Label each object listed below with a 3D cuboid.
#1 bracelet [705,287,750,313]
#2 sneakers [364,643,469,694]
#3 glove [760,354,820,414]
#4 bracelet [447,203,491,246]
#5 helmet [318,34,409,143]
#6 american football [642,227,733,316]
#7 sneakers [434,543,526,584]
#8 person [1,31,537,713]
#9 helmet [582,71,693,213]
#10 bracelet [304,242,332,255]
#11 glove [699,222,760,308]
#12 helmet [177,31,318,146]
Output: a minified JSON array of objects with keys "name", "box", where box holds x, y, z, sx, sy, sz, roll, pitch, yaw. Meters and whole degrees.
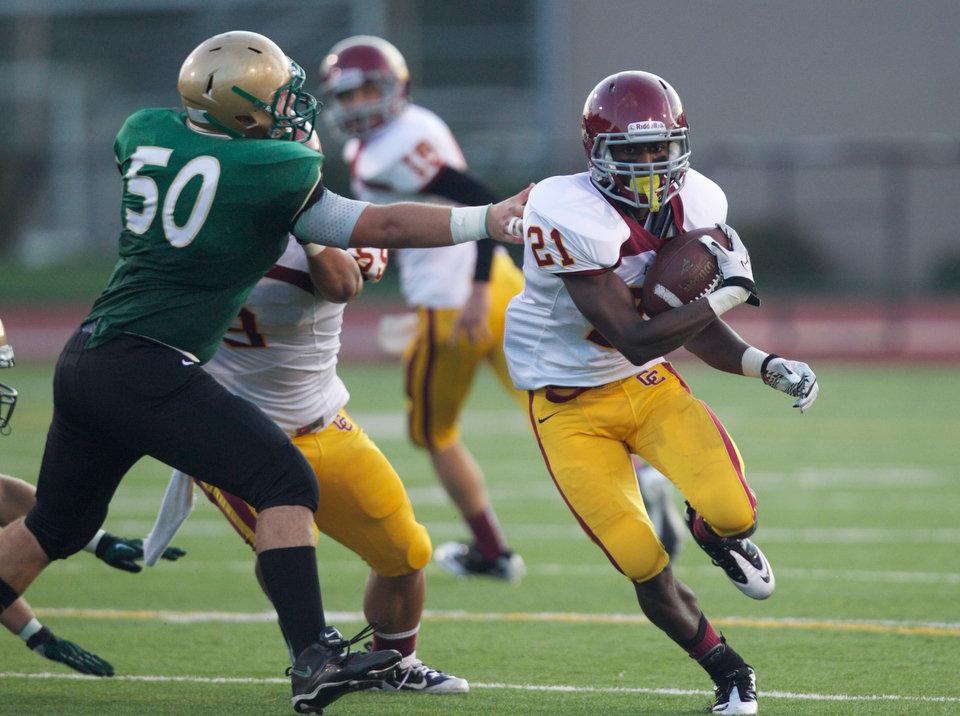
[{"name":"bracelet","box":[0.956,-0.227,5.997,0.164,0.082,0.061,-23,-14,-3]},{"name":"sneakers","box":[-0.265,1.291,6.276,0.405,0.143,0.134,0,-1,6]},{"name":"glove","box":[1.304,0.074,6.209,0.256,0.185,0.120,17,27,32]},{"name":"bracelet","box":[-0.050,-0.509,5.783,0.163,0.104,0.128,-4,0,18]},{"name":"helmet","box":[-0.662,-1.468,8.298,0.465,0.439,0.579,-20,5,12]},{"name":"american football","box":[0.787,-0.334,6.087,0.365,0.200,0.269,-37,-4,-3]},{"name":"sneakers","box":[-0.019,1.022,7.719,0.489,0.190,0.165,13,-1,4]},{"name":"person","box":[-0.983,0.031,5.829,1.469,2.505,0.930,6,14,23]},{"name":"helmet","box":[0.605,-0.849,6.046,0.494,0.482,0.566,-5,16,-11]},{"name":"bracelet","box":[-0.650,-0.423,5.943,0.055,0.039,0.050,-25,32,16]},{"name":"glove","box":[0.989,-0.360,6.029,0.112,0.298,0.245,-21,1,30]},{"name":"helmet","box":[-0.916,-1.050,5.949,0.574,0.371,0.375,-2,26,-12]}]
